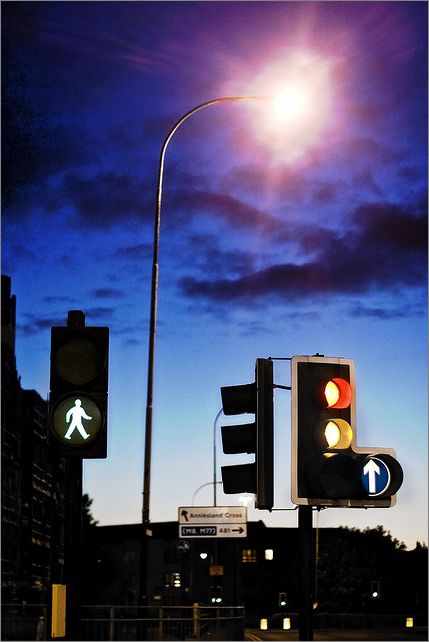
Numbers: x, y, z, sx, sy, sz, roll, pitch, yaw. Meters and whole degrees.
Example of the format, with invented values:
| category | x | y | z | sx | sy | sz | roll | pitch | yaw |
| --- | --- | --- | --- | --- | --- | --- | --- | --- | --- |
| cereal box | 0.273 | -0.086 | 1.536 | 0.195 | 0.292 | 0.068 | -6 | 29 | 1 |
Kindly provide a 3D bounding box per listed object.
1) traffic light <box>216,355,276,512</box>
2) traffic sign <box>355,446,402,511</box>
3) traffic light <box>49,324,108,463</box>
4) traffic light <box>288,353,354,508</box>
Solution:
| category | x | y | z | sx | sy | sz | roll | pitch | yaw |
| --- | --- | --- | --- | --- | --- | --- | --- | --- | --- |
| traffic light | 0.231 | 0.803 | 7.026 | 0.381 | 1.090 | 0.552 | 0 | -18 | 0 |
| traffic sign | 1.144 | 1.108 | 7.018 | 0.326 | 0.410 | 0.328 | 0 | -19 | 0 |
| traffic light | -0.931 | 0.480 | 6.710 | 0.413 | 0.962 | 0.274 | 1 | -18 | -4 |
| traffic light | 0.761 | 0.757 | 6.989 | 0.463 | 1.052 | 0.302 | -2 | -18 | 6 |
